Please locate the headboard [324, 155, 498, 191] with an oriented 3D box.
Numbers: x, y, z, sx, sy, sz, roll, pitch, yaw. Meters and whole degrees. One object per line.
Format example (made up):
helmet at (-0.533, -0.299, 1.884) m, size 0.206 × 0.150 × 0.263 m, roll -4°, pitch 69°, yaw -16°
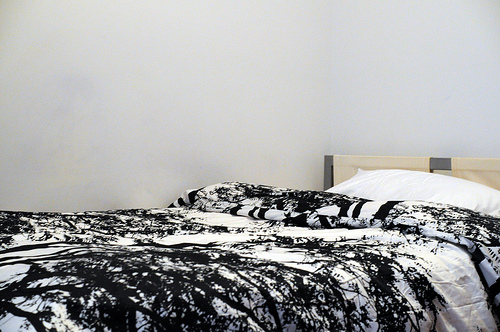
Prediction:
headboard at (1.352, -0.029, 3.059) m, size 0.505 × 0.270 × 1.361 m, roll -5°, pitch 7°, yaw -42°
